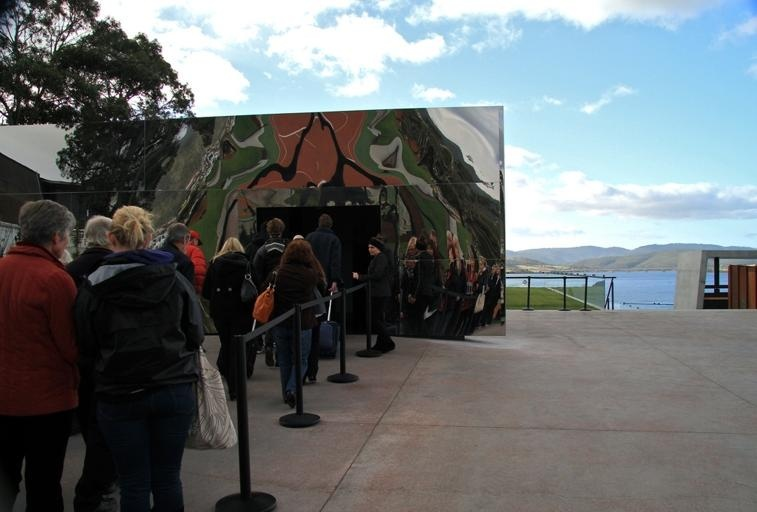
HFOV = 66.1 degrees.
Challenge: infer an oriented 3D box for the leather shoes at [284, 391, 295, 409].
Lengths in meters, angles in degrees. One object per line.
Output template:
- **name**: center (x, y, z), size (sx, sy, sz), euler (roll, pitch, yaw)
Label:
- **leather shoes**: center (-1.047, 1.701, 6.930), size (0.082, 0.254, 0.106), euler (0, 15, 0)

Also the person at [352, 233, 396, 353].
- **person**: center (-0.020, 0.710, 10.423), size (0.699, 2.014, 0.667), euler (-2, -6, 21)
